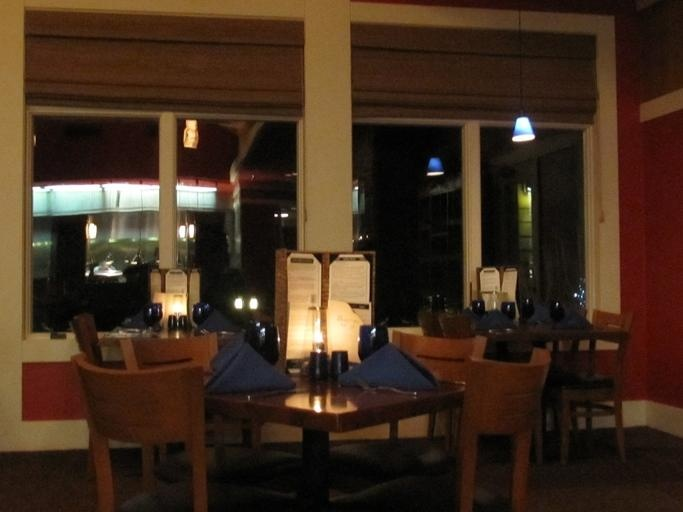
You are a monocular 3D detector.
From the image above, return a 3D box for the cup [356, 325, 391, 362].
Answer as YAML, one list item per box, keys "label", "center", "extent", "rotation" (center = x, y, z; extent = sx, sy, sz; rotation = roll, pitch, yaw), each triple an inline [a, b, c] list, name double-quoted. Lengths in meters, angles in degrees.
- label: "cup"
  center: [0.162, 0.423, 3.532]
  extent: [0.134, 0.174, 0.286]
  rotation: [-1, -1, -20]

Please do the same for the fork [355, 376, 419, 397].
- label: "fork"
  center: [0.199, 0.576, 3.273]
  extent: [0.314, 0.067, 0.073]
  rotation: [-1, -1, 18]

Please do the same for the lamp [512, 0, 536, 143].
- label: "lamp"
  center: [1.438, -1.436, 5.875]
  extent: [0.164, 1.075, 0.586]
  rotation: [-1, -1, 14]

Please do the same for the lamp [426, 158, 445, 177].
- label: "lamp"
  center: [0.760, -0.719, 6.003]
  extent: [0.137, 0.143, 0.143]
  rotation: [-2, 3, -21]
